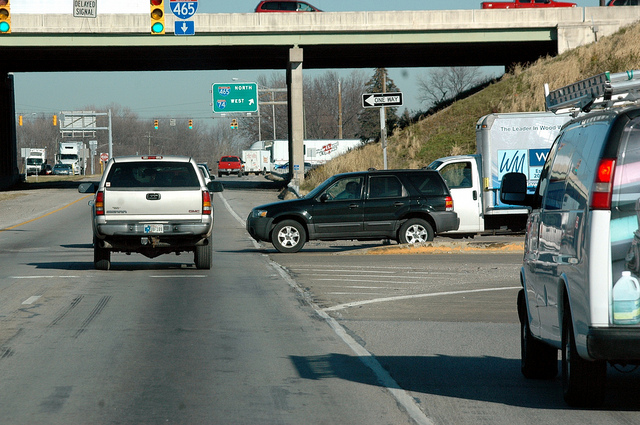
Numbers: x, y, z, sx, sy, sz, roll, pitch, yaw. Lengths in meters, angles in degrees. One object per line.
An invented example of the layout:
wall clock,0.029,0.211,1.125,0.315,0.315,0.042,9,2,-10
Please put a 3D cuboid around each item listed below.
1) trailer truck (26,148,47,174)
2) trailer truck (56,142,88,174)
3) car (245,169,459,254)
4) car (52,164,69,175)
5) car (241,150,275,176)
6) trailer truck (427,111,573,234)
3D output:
trailer truck,-35.978,-6.377,102.459,2.347,3.114,5.883,-1,-1,-8
trailer truck,-32.624,-6.840,106.828,2.854,4.249,8.357,0,3,-13
car,0.930,0.008,23.223,5.397,2.024,2.448,1,-2,-1
car,-32.324,-5.339,101.435,2.073,1.239,1.273,2,4,26
car,-6.921,-5.421,88.306,2.832,2.356,4.428,1,3,15
trailer truck,5.216,-1.166,23.943,3.108,3.503,1.075,0,3,-4
